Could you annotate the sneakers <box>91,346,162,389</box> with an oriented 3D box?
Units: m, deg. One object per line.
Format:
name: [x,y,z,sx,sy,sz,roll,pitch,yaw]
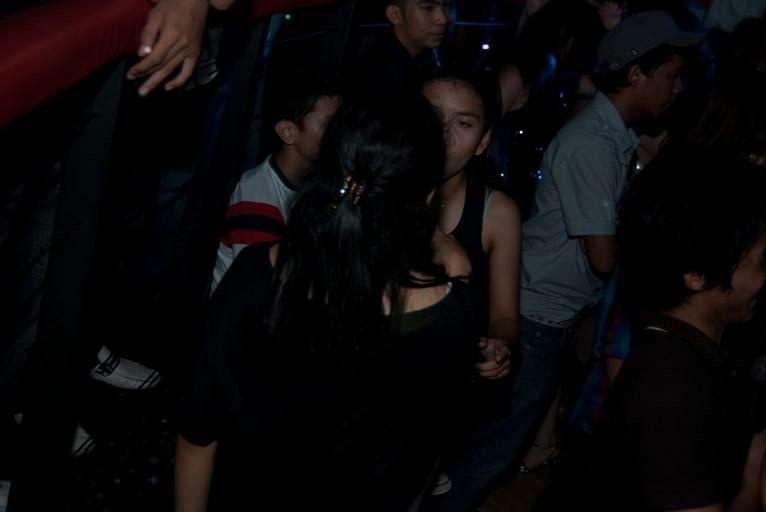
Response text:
sneakers: [-0.877,0.372,1.947,0.213,0.089,0.119,26,53,-12]

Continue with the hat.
hat: [1.053,-0.877,2.305,0.323,0.120,0.230,-16,15,20]
